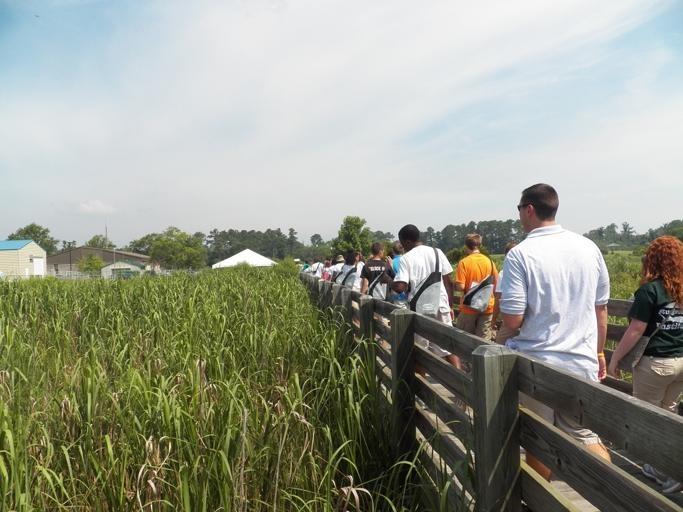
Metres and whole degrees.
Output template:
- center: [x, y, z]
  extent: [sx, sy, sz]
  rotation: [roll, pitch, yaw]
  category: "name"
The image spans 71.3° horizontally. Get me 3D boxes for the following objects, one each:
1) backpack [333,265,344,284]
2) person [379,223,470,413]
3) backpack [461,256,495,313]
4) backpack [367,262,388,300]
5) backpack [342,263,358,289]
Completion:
- center: [-0.104, 0.457, 12.553]
  extent: [0.156, 0.456, 0.314]
  rotation: [29, -18, -25]
  category: "backpack"
- center: [1.072, 0.670, 6.038]
  extent: [0.824, 1.708, 1.809]
  rotation: [-2, 0, 14]
  category: "person"
- center: [1.894, 0.411, 6.680]
  extent: [0.663, 0.918, 0.356]
  rotation: [2, 5, 13]
  category: "backpack"
- center: [0.582, 0.403, 7.921]
  extent: [0.303, 0.582, 0.541]
  rotation: [1, 3, 9]
  category: "backpack"
- center: [0.187, 0.462, 10.650]
  extent: [0.373, 0.708, 0.482]
  rotation: [2, 1, 3]
  category: "backpack"
